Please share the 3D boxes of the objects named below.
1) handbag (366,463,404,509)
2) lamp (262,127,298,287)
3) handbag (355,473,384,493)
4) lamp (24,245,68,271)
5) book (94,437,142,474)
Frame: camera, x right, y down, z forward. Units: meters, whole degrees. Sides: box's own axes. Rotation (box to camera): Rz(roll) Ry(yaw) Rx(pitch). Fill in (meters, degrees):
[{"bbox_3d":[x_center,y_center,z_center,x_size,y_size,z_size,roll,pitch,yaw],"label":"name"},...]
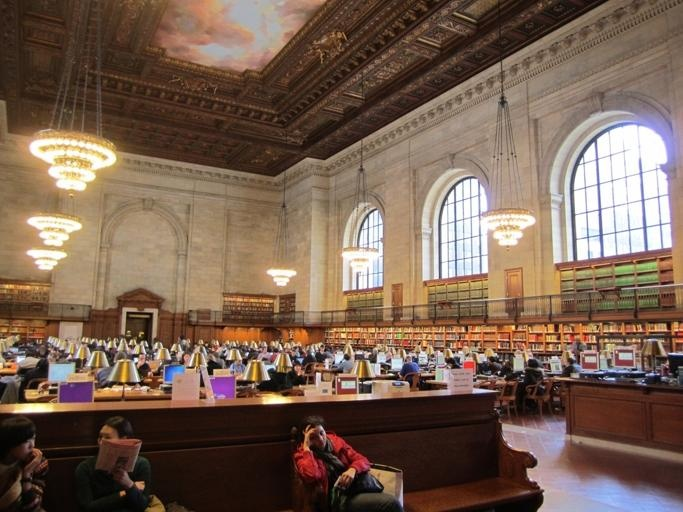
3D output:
[{"bbox_3d":[0.313,1.562,3.682,0.242,0.305,0.432,-1,-11,9],"label":"handbag"},{"bbox_3d":[-2.731,-2.325,24.329,1.069,5.726,1.070,3,11,-16],"label":"lamp"},{"bbox_3d":[0.197,1.572,3.509,0.160,0.063,0.134,15,9,8],"label":"handbag"},{"bbox_3d":[-10.203,0.060,17.728,1.436,0.755,1.453,2,-12,-18],"label":"lamp"},{"bbox_3d":[-1.358,1.201,3.089,0.216,0.228,0.081,14,19,-14],"label":"book"}]
